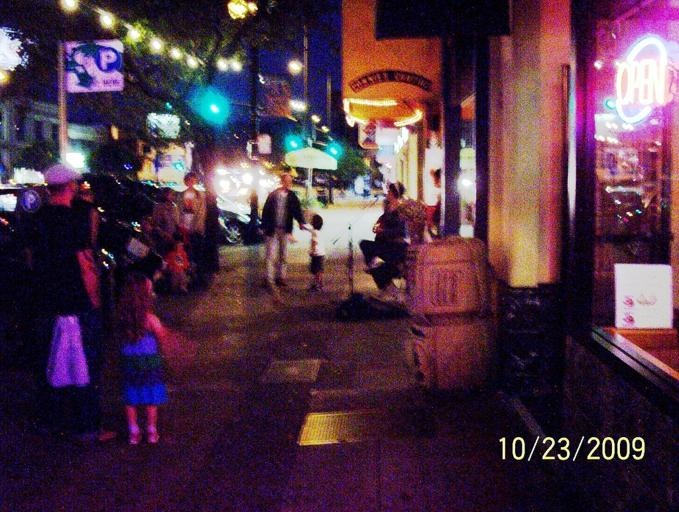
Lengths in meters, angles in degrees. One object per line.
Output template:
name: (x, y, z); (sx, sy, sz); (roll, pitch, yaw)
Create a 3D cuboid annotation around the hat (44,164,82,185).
hat: (-2.478, -0.722, 5.418); (0.170, 0.129, 0.242); (11, 29, 42)

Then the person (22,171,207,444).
person: (-2.248, 0.432, 5.443); (1.256, 2.425, 0.494); (2, 12, 16)

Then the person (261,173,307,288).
person: (-1.088, -0.445, 11.353); (0.754, 2.112, 0.667); (-3, 12, -8)

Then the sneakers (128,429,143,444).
sneakers: (-1.836, 1.624, 5.508); (0.138, 0.156, 0.087); (1, -3, 29)

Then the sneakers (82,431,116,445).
sneakers: (-2.181, 1.630, 5.476); (0.297, 0.145, 0.105); (-3, 2, -20)

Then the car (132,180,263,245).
car: (-3.756, -1.048, 15.578); (2.707, 1.212, 1.309); (2, 7, -10)
